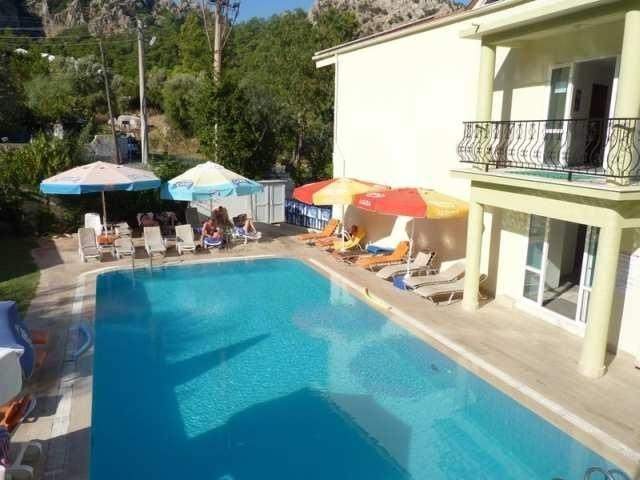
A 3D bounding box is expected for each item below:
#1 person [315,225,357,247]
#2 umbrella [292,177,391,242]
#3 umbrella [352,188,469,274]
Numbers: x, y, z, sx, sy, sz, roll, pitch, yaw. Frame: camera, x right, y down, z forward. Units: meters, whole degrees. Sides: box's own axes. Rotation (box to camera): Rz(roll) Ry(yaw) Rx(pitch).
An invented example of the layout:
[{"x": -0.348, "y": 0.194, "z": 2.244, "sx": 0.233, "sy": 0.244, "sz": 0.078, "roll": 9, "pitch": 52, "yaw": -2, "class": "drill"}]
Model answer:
[{"x": 0.936, "y": 0.015, "z": 20.086, "sx": 1.355, "sy": 0.818, "sz": 1.002, "roll": -6, "pitch": 17, "yaw": -30, "class": "person"}, {"x": 0.618, "y": -0.695, "z": 18.071, "sx": 2.542, "sy": 1.858, "sz": 2.847, "roll": -2, "pitch": 18, "yaw": 5, "class": "umbrella"}, {"x": 2.983, "y": -0.486, "z": 15.718, "sx": 2.737, "sy": 2.548, "sz": 2.864, "roll": 11, "pitch": 15, "yaw": 24, "class": "umbrella"}]
